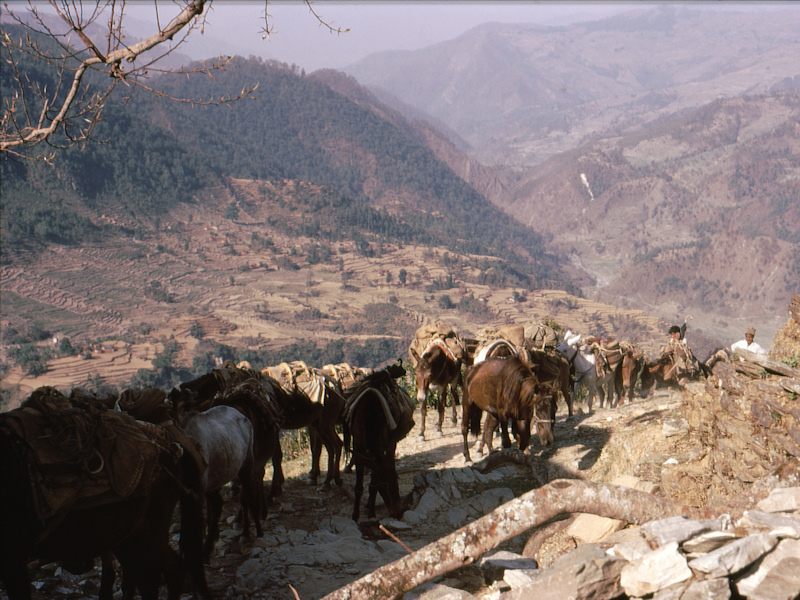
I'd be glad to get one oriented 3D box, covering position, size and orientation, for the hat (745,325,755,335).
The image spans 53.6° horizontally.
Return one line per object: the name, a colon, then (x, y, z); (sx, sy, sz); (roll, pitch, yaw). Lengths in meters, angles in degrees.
hat: (8.861, 0.768, 20.068); (0.286, 0.192, 0.419); (5, 1, 7)
